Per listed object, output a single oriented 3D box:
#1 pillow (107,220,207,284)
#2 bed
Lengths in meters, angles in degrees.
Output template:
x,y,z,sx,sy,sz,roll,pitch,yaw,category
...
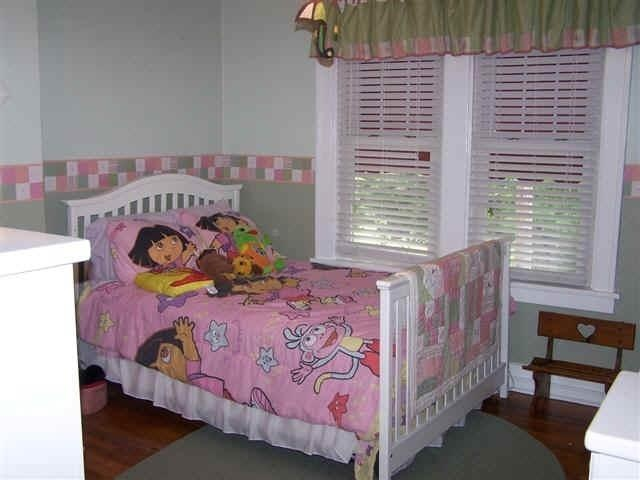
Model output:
x,y,z,sx,sy,sz,roll,pitch,yaw,category
-1.048,0.048,3.337,0.422,0.182,0.424,21,20,-3,pillow
-0.270,0.394,3.434,2.462,1.468,1.622,8,15,37,bed
